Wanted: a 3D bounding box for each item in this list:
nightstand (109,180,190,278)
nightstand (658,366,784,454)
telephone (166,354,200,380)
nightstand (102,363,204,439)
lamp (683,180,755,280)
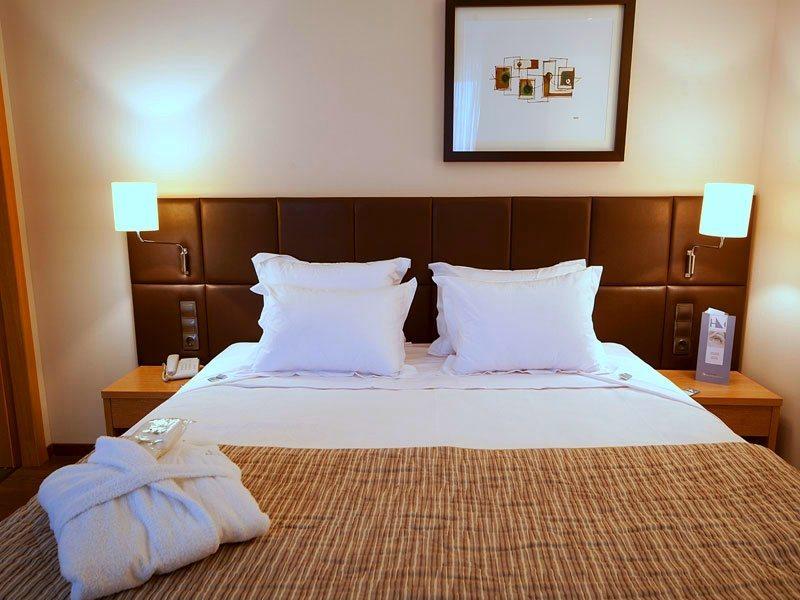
[{"bbox_3d":[-1.338,-0.363,3.053,0.302,0.550,0.292,-5,14,-10],"label":"nightstand"},{"bbox_3d":[1.710,0.750,3.056,0.505,0.515,0.381,0,4,21],"label":"nightstand"},{"bbox_3d":[-1.184,0.372,3.042,0.137,0.050,0.155,1,19,-16],"label":"telephone"},{"bbox_3d":[-1.317,0.503,3.038,0.449,0.466,0.319,-1,20,-5],"label":"nightstand"},{"bbox_3d":[1.685,-0.347,2.988,0.255,0.531,0.300,0,14,13],"label":"lamp"}]
